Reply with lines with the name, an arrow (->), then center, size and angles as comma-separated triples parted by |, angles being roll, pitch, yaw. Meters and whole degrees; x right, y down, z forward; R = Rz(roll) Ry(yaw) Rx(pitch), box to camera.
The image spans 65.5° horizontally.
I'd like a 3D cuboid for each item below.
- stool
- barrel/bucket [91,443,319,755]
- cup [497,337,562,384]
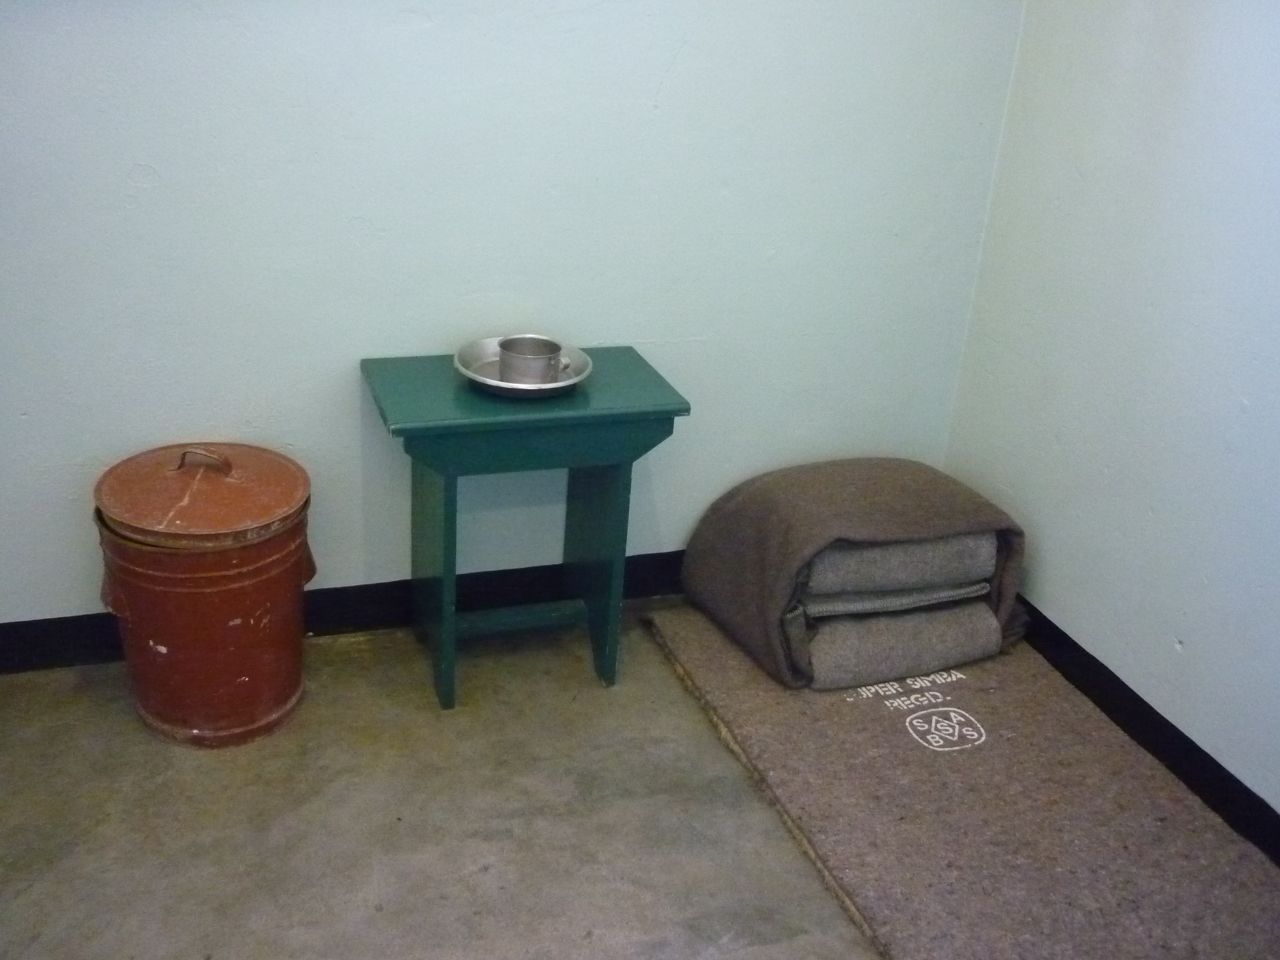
stool -> -0.453, 0.126, 3.865 | 1.099, 1.112, 0.677 | -3, 28, -18
barrel/bucket -> -1.532, 0.385, 3.570 | 0.663, 0.991, 0.677 | 7, 28, -4
cup -> -0.385, -0.421, 3.522 | 0.228, 0.113, 0.308 | -1, 28, -7
